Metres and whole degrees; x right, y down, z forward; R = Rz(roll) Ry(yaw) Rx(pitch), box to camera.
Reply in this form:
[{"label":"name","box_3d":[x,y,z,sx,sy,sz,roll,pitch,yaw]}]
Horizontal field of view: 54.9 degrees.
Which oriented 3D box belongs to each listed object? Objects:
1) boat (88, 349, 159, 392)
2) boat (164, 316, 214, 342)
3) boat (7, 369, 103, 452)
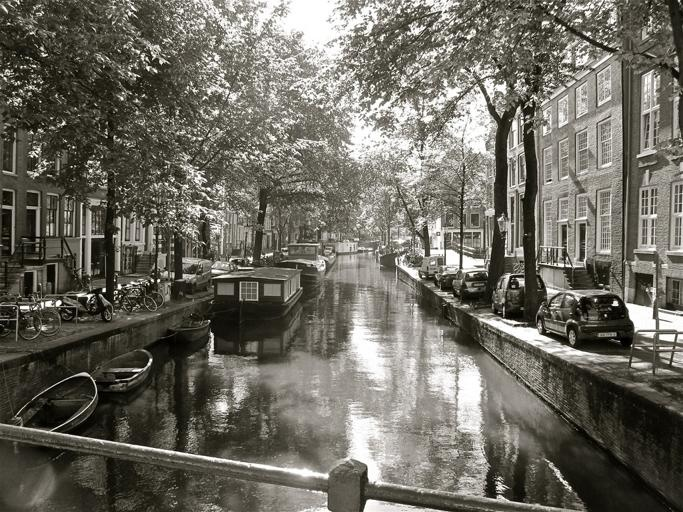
[{"label":"boat","box_3d":[-6.772,3.656,20.295,1.234,0.856,2.082,0,11,9]},{"label":"boat","box_3d":[-6.268,3.165,26.921,1.208,0.972,1.916,0,11,11]},{"label":"boat","box_3d":[-7.218,3.963,16.948,1.185,1.197,2.043,4,12,25]}]
